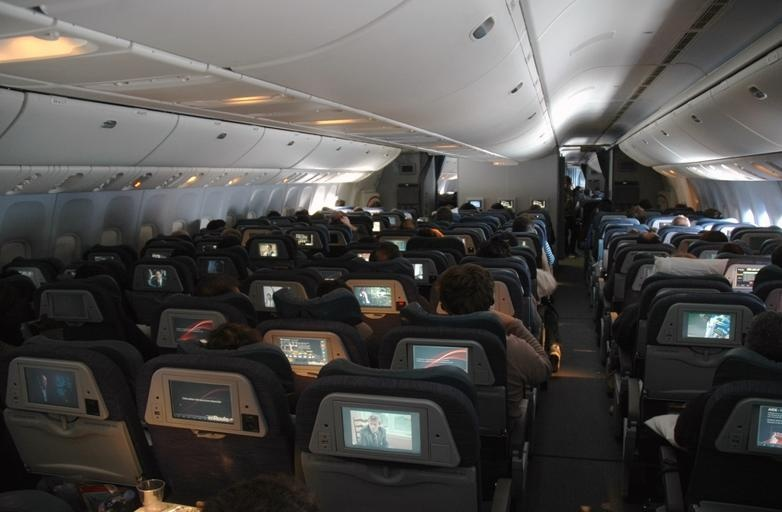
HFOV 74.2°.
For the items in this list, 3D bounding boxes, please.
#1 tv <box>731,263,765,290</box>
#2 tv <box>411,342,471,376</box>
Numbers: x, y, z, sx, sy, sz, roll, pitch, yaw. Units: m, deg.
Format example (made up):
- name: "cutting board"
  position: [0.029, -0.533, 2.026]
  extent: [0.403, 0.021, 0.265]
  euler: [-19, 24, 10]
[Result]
- name: "tv"
  position: [4.444, 0.244, 6.432]
  extent: [0.365, 0.291, 0.049]
  euler: [-1, 6, 6]
- name: "tv"
  position: [0.374, 0.790, 3.951]
  extent: [0.450, 0.232, 0.082]
  euler: [1, -1, 2]
